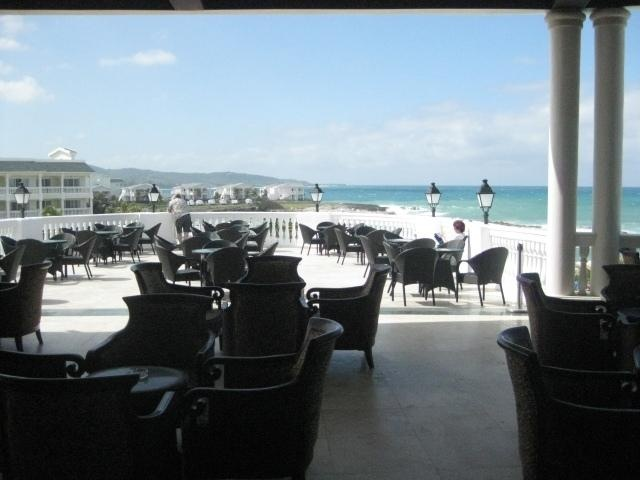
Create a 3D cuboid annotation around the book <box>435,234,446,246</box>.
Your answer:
[{"bbox_3d":[2.030,-0.016,8.639,0.110,0.125,0.321,-36,-4,7],"label":"book"}]

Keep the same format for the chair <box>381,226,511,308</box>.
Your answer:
[{"bbox_3d":[1.684,0.354,7.363,1.544,0.689,1.247,-1,5,-13],"label":"chair"}]

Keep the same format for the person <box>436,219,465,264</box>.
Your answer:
[{"bbox_3d":[2.022,0.008,7.905,0.443,0.334,0.743,7,-38,17],"label":"person"}]
